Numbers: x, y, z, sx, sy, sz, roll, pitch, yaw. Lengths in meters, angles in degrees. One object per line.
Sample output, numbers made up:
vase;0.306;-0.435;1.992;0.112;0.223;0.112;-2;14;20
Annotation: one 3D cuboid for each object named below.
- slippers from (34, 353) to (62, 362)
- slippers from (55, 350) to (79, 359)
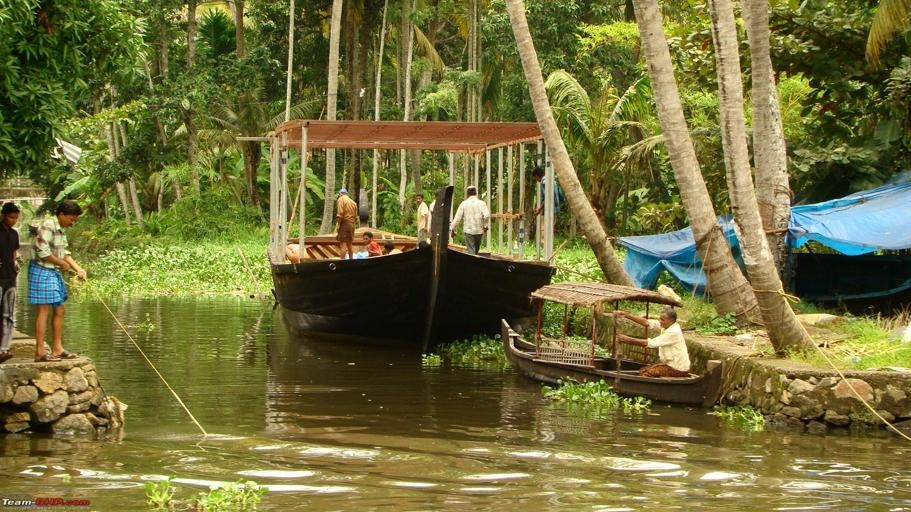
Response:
slippers;-7.129;1.749;16.606;0.364;0.106;0.172;-3;0;2
slippers;-6.857;1.728;16.761;0.351;0.086;0.125;-1;1;6
